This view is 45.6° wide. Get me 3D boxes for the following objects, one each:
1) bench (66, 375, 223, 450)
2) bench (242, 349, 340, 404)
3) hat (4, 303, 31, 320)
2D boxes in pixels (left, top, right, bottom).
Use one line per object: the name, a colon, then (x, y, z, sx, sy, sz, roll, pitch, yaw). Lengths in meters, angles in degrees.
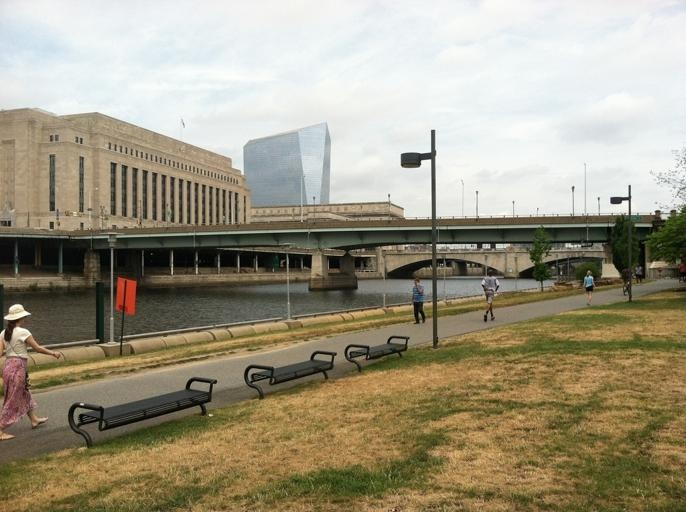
bench: (-5.010, 3.872, 20.878, 1.140, 1.083, 3.889, 4, 5, 37)
bench: (-1.585, 3.381, 23.829, 2.143, 1.168, 2.982, -6, -2, 34)
hat: (-8.269, 1.428, 20.810, 0.774, 0.338, 0.737, -5, -3, -1)
